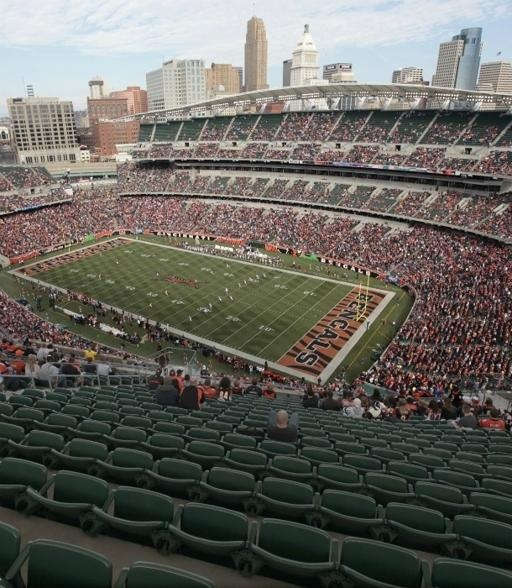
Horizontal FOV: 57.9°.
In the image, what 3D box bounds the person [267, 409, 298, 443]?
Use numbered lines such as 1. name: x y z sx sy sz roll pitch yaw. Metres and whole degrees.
1. person: 0.545 2.326 8.645 0.427 0.728 0.765 4 35 6
